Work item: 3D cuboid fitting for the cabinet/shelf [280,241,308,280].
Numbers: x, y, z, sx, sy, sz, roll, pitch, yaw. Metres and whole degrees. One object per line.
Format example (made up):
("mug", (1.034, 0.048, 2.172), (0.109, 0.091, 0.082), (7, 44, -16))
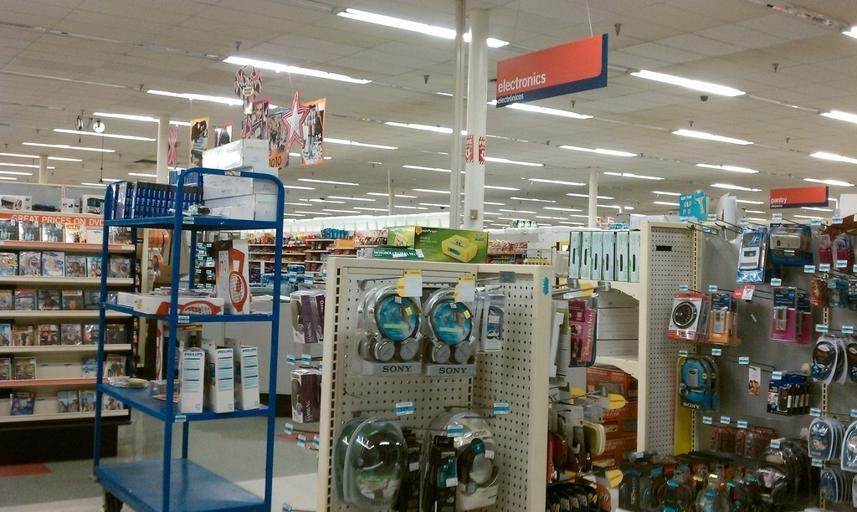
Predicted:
("cabinet/shelf", (-3.224, 0.081, 16.748), (0.412, 0.790, 0.855), (3, -7, -32))

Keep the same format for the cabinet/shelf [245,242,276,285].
("cabinet/shelf", (-3.828, 0.167, 15.944), (0.538, 0.916, 0.965), (1, -3, -14))

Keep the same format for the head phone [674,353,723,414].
("head phone", (2.893, 1.364, 7.467), (0.399, 0.576, 0.145), (0, -3, 18))

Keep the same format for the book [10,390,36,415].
("book", (-5.062, 1.859, 8.655), (0.289, 0.367, 0.039), (0, -9, -19))

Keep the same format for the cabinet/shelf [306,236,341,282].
("cabinet/shelf", (-2.183, 0.014, 14.335), (0.336, 0.908, 0.982), (5, -8, -33))

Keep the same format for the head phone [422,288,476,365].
("head phone", (0.152, 0.545, 5.290), (0.400, 0.565, 0.115), (1, -3, 2))

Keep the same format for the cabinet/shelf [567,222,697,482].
("cabinet/shelf", (2.382, 0.913, 7.924), (0.904, 2.525, 1.020), (2, -3, -20))
